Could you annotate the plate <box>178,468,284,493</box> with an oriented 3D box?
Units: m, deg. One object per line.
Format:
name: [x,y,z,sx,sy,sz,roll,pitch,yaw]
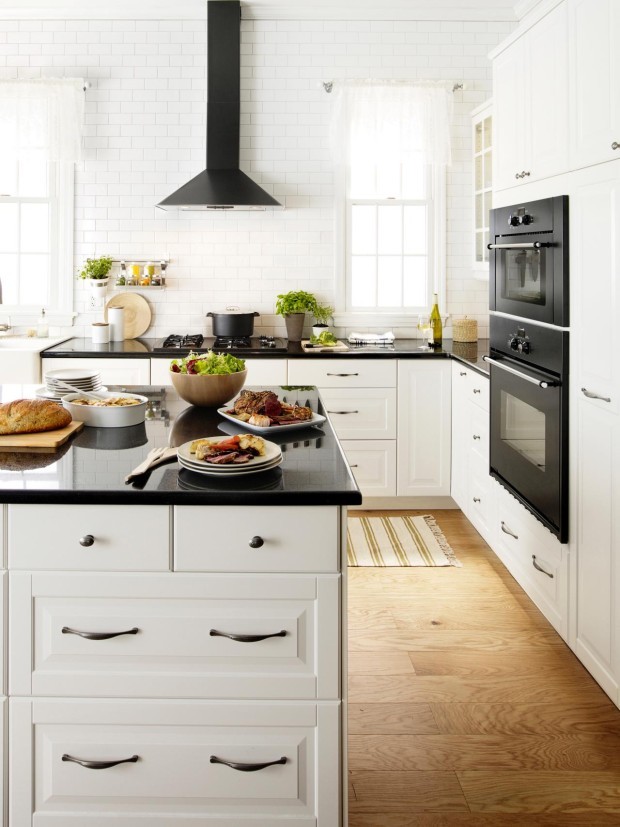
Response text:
plate: [-0.161,0.144,1.563,0.223,0.006,0.214,-2,9,-10]

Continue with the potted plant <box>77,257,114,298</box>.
potted plant: [-1.380,-0.912,4.903,0.266,0.317,0.257,2,16,2]

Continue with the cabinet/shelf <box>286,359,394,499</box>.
cabinet/shelf: [0.320,0.076,4.624,0.774,1.066,0.732,0,2,0]

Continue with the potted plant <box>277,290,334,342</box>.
potted plant: [-0.037,-0.654,4.917,0.380,0.320,0.347,2,-1,-45]

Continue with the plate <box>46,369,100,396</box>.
plate: [-0.762,-0.096,2.353,0.108,0.043,0.106,6,9,37]

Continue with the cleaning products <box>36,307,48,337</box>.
cleaning products: [-1.777,-0.598,4.931,0.071,0.189,0.177,-3,9,-18]
